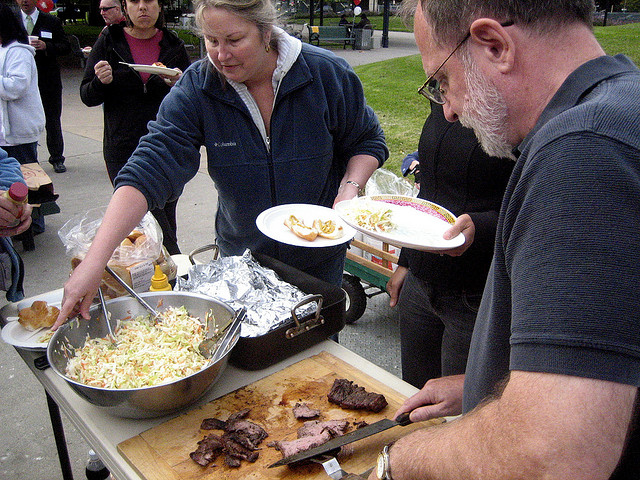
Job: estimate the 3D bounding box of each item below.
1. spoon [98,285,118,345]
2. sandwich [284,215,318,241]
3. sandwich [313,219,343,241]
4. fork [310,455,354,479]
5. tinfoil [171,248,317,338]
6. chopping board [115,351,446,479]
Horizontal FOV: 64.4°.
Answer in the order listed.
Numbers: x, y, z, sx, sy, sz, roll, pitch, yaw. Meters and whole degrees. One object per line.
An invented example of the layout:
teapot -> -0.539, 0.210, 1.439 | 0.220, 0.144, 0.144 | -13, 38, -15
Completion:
spoon -> -0.955, 0.346, 2.283 | 0.038, 0.038, 0.314 | -11, 53, -31
sandwich -> -0.100, -0.071, 2.670 | 0.171, 0.054, 0.096 | 40, 44, 24
sandwich -> 0.049, -0.060, 2.744 | 0.119, 0.052, 0.122 | 22, 29, 15
fork -> 0.040, 0.790, 1.768 | 0.054, 0.025, 0.172 | -12, 26, -33
tinfoil -> -0.335, 0.235, 2.385 | 0.388, 0.149, 0.495 | -23, 41, -34
chopping board -> -0.190, 0.733, 1.955 | 1.059, 0.105, 0.571 | -11, 26, -29
